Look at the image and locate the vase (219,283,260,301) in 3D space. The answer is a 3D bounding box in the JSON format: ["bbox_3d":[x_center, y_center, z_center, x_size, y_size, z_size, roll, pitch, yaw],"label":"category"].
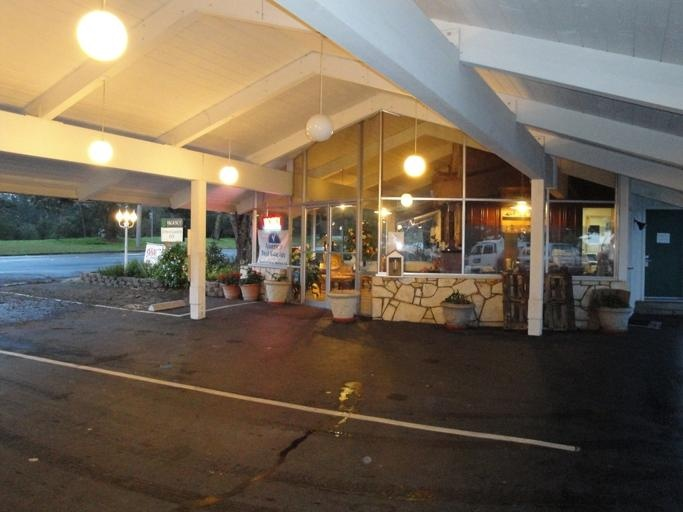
[{"bbox_3d":[-3.474,1.191,17.898,1.301,0.600,0.517,5,8,30],"label":"vase"}]

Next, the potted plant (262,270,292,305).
[{"bbox_3d":[-2.102,1.008,17.076,1.006,1.115,1.013,0,-5,1],"label":"potted plant"}]

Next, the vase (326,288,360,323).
[{"bbox_3d":[0.048,1.400,14.401,0.918,0.759,0.909,-2,0,-17],"label":"vase"}]

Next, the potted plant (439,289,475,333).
[{"bbox_3d":[2.941,1.448,13.507,0.884,0.898,0.882,1,3,9],"label":"potted plant"}]
